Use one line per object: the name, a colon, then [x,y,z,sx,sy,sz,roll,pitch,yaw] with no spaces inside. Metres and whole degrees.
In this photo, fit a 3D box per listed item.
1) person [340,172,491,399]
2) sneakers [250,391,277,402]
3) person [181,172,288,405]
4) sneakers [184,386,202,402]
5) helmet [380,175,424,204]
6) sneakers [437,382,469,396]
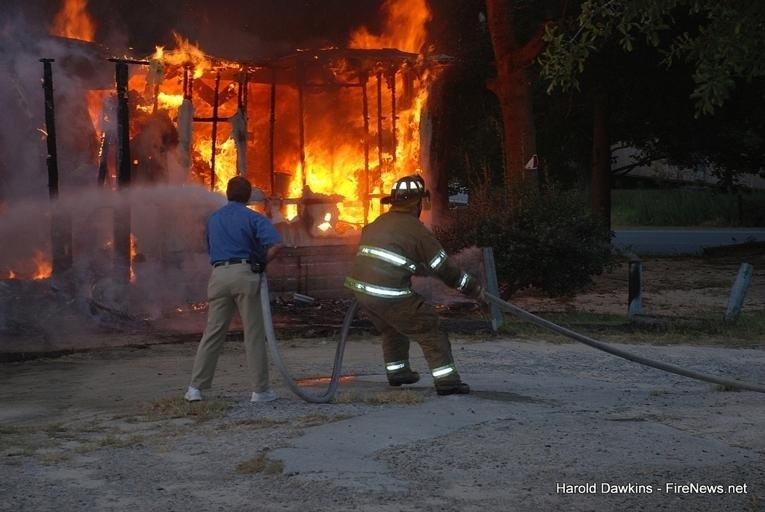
person: [0.306,0.348,8.859,1.480,2.748,0.875,-2,4,-4]
sneakers: [-1.427,1.703,8.371,0.303,0.124,0.122,-4,15,-11]
person: [-1.831,0.380,8.620,1.177,2.759,0.847,-3,4,-8]
sneakers: [-2.275,1.664,8.411,0.220,0.170,0.373,-3,4,-15]
helmet: [0.282,-0.850,9.005,0.359,0.194,0.508,2,8,42]
sneakers: [0.866,1.641,8.638,0.352,0.153,0.169,-3,2,-7]
